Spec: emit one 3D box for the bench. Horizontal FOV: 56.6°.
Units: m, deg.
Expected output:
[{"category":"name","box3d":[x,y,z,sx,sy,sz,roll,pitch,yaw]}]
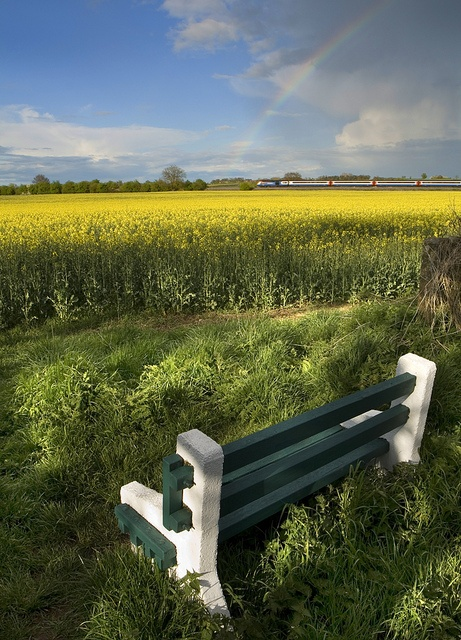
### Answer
[{"category":"bench","box3d":[0.278,0.618,2.255,1.793,0.873,0.845,-13,18,-38]}]
